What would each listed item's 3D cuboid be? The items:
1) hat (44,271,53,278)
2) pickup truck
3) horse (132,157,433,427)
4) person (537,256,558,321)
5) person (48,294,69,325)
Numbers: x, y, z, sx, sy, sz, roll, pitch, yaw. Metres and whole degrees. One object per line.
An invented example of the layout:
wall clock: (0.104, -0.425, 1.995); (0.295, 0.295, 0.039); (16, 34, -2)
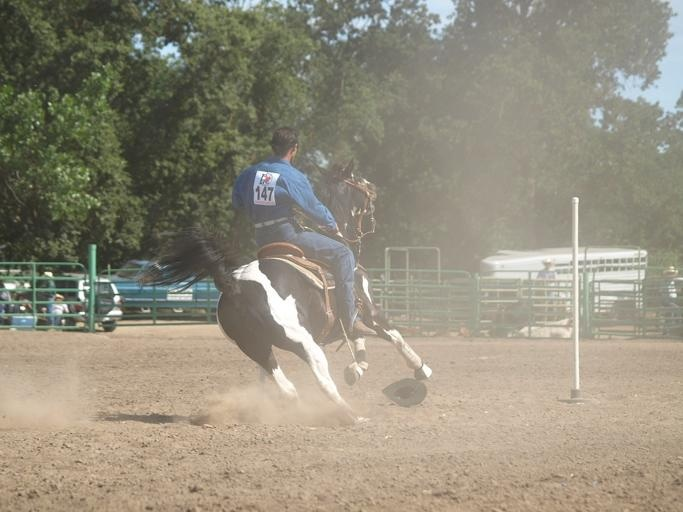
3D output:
hat: (-7.772, 0.532, 22.652); (0.215, 0.065, 0.219); (20, 5, 11)
pickup truck: (-5.062, 1.269, 24.383); (3.698, 1.475, 2.247); (2, -7, -13)
horse: (-0.724, 0.750, 13.672); (1.312, 4.165, 5.724); (-19, -1, 39)
person: (6.108, 1.016, 25.062); (0.591, 1.261, 3.088); (2, 11, 14)
person: (-7.545, 1.473, 22.713); (0.534, 0.835, 0.965); (-4, 12, -18)
